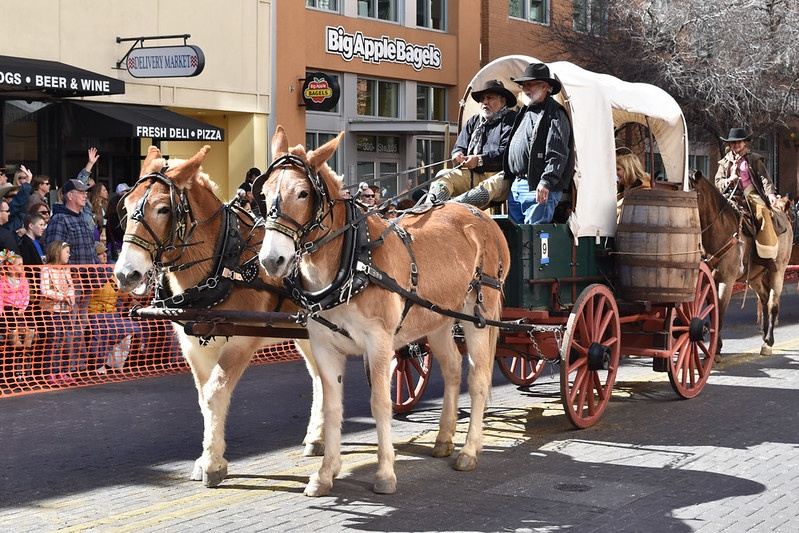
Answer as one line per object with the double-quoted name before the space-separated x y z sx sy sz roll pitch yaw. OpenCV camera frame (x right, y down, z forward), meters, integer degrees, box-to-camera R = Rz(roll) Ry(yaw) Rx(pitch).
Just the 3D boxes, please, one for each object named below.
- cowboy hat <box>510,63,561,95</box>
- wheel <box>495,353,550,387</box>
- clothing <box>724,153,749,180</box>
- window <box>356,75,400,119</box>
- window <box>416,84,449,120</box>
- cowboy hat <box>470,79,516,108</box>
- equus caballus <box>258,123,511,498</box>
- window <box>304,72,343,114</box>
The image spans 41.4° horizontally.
"cowboy hat" 1.758 -2.342 13.226 0.402 0.174 0.471 5 0 35
"wheel" 1.719 1.466 14.777 0.214 0.651 0.755 3 2 45
"clothing" 5.822 -1.720 18.191 0.307 0.536 0.430 5 -11 -42
"window" -0.624 -4.690 29.684 0.142 1.120 2.002 4 6 42
"window" 0.807 -4.771 30.876 0.126 1.056 1.601 4 6 44
"cowboy hat" 1.317 -2.235 14.001 0.406 0.167 0.480 -7 -22 34
"equus caballus" -0.130 0.433 11.325 2.975 3.729 1.065 -9 14 -36
"window" -2.113 -4.361 26.339 1.065 0.971 0.329 -10 17 -37
